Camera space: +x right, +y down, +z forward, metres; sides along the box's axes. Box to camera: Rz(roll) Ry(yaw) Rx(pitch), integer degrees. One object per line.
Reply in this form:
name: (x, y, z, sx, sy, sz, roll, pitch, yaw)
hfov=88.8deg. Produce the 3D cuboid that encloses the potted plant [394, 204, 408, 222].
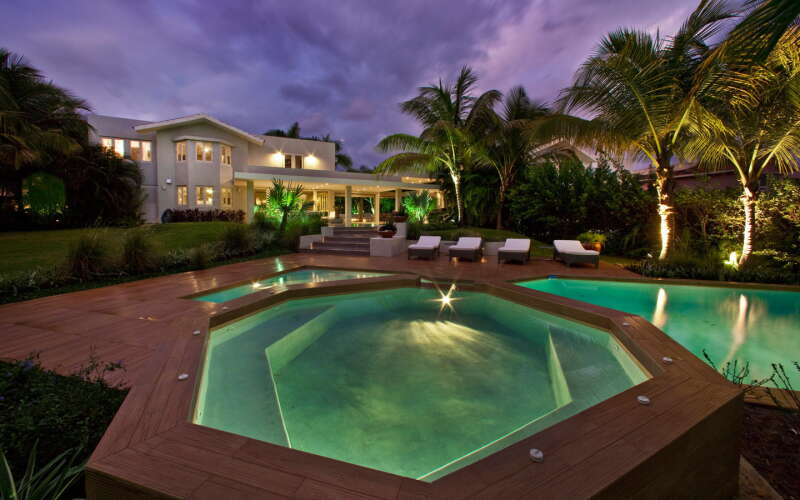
potted plant: (-0.031, -2.415, 19.839, 0.546, 0.534, 1.068, 0, 5, -4)

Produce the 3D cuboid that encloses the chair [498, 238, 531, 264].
chair: (4.454, -0.765, 16.382, 1.114, 0.866, 1.332, 4, 5, 35)

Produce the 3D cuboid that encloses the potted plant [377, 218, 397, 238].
potted plant: (-0.612, -1.783, 18.466, 0.730, 0.494, 0.740, 1, 9, 16)
